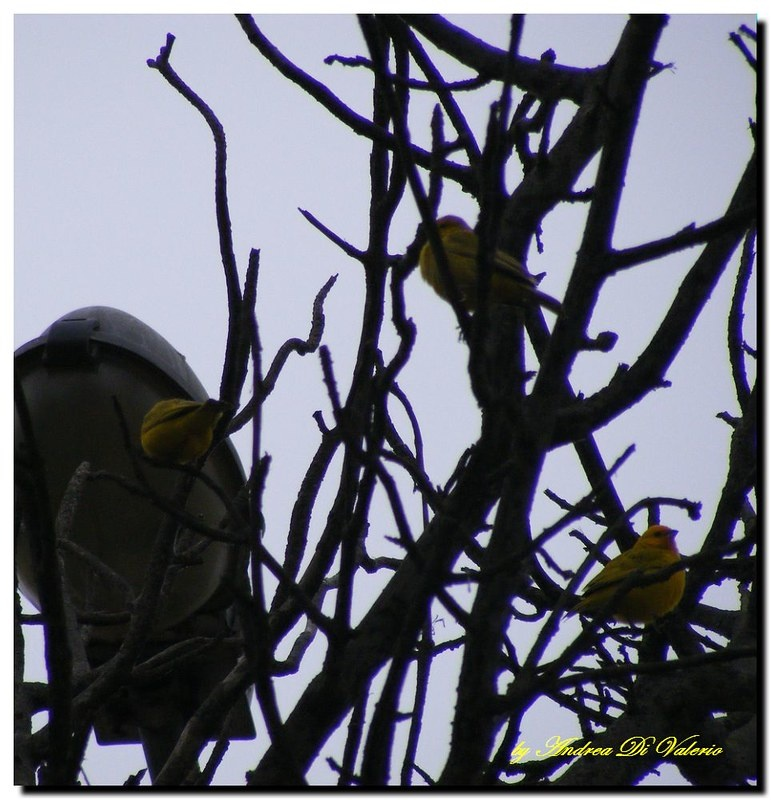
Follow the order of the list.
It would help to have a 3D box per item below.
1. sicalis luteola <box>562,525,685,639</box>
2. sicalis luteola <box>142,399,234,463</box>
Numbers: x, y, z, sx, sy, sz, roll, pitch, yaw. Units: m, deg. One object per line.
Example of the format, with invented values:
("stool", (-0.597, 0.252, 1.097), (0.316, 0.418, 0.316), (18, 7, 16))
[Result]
("sicalis luteola", (0.965, 0.780, 11.334), (0.555, 0.500, 0.356), (5, -23, -14))
("sicalis luteola", (-0.825, 0.138, 11.079), (0.135, 0.171, 0.258), (11, -33, -34))
